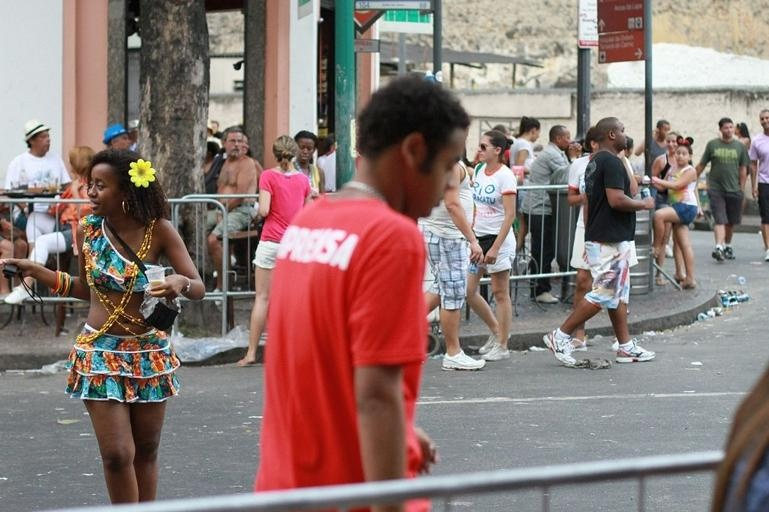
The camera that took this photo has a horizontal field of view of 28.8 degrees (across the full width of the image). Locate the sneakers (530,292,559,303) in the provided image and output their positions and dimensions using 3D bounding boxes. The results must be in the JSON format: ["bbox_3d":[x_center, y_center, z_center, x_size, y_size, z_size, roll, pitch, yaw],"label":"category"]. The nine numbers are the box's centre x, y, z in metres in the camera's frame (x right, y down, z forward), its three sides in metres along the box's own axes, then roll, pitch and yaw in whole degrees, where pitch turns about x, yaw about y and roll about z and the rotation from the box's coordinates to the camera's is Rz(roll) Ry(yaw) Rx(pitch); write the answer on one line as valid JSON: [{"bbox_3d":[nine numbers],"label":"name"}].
[{"bbox_3d":[2.460,0.627,23.017,0.358,0.130,0.163,-1,12,-8],"label":"sneakers"}]

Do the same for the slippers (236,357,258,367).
[{"bbox_3d":[-1.801,1.395,20.042,0.252,0.166,0.090,6,7,5],"label":"slippers"}]

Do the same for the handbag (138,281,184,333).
[{"bbox_3d":[-2.176,0.520,15.036,0.366,0.458,0.438,3,7,37],"label":"handbag"}]

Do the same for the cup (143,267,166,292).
[{"bbox_3d":[-2.261,0.217,14.990,0.232,0.164,0.221,-3,-4,0],"label":"cup"}]

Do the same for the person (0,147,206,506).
[{"bbox_3d":[-2.576,0.673,15.123,1.029,3.452,0.962,3,7,32],"label":"person"}]

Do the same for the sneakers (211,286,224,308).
[{"bbox_3d":[-2.258,0.576,20.734,0.121,0.250,0.425,-2,6,-6],"label":"sneakers"}]

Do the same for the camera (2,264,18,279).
[{"bbox_3d":[-3.736,0.135,15.270,0.185,0.119,0.158,9,-32,-8],"label":"camera"}]

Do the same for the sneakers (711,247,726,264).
[{"bbox_3d":[5.935,-0.001,26.912,0.177,0.345,0.171,12,47,30],"label":"sneakers"}]

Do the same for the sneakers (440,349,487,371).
[{"bbox_3d":[1.028,1.365,19.662,0.606,0.235,0.224,1,3,0],"label":"sneakers"}]

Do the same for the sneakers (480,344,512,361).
[{"bbox_3d":[1.491,1.281,20.011,0.446,0.180,0.153,-1,8,-11],"label":"sneakers"}]
